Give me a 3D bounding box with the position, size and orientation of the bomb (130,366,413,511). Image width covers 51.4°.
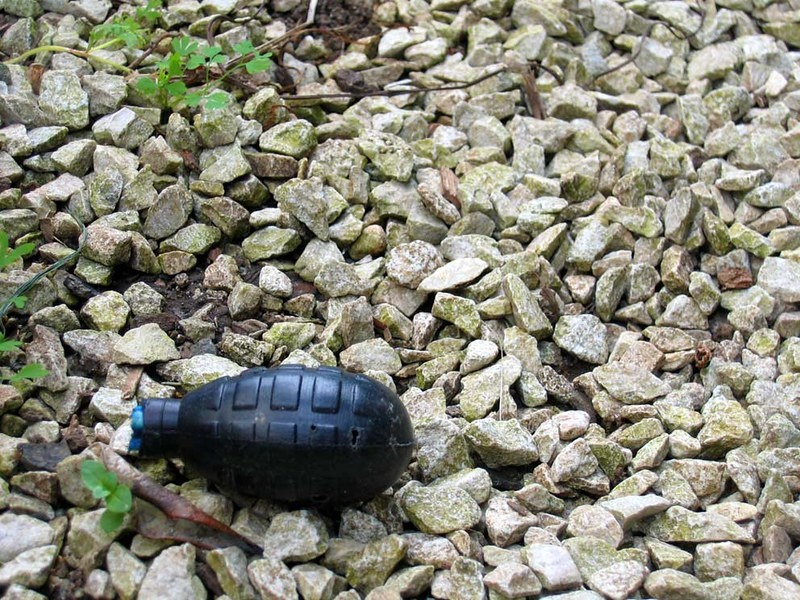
[{"bbox_3d":[-0.398,0.382,2.733,0.826,0.426,0.407,2,18,-1],"label":"bomb"}]
